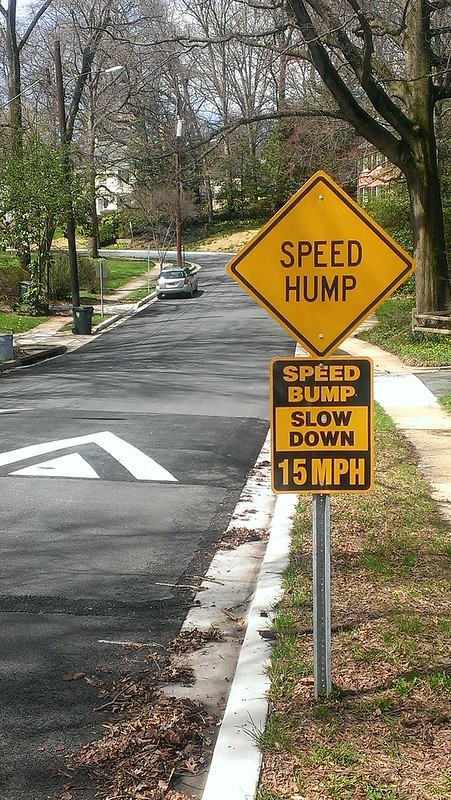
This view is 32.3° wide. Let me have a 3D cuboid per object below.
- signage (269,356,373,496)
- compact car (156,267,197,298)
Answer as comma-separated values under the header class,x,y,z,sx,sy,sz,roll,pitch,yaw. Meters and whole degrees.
class,x,y,z,sx,sy,sz,roll,pitch,yaw
signage,0.390,0.102,3.156,0.427,0.623,0.022,-1,-31,8
compact car,-2.354,-5.363,35.725,1.671,1.313,1.147,-6,6,-6
